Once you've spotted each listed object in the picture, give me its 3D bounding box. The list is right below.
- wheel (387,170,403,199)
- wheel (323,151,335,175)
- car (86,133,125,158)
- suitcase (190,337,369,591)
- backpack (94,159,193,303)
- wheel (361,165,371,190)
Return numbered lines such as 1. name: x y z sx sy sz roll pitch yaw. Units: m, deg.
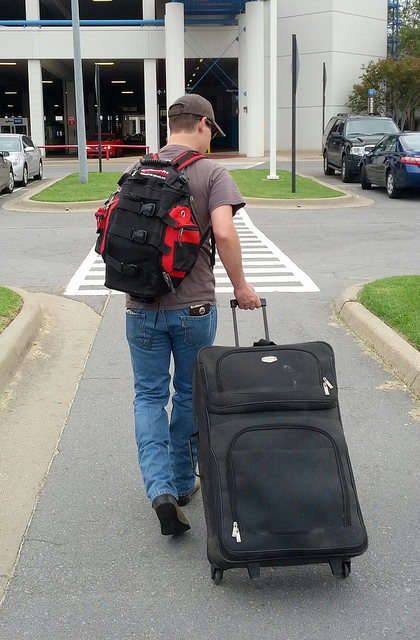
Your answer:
1. wheel: 5.960 -4.432 17.118 0.251 0.839 0.801 0 7 -3
2. wheel: 5.408 -7.144 24.007 0.390 1.302 1.243 -1 1 -1
3. car: -8.191 -14.089 41.696 2.521 2.004 5.828 0 10 1
4. suitcase: 0.249 0.513 1.988 0.527 0.893 0.480 -1 -26 -5
5. backpack: -0.269 -0.358 2.137 0.409 0.543 0.275 18 16 21
6. wheel: 5.731 -5.313 19.513 0.216 0.713 0.687 -2 19 5
